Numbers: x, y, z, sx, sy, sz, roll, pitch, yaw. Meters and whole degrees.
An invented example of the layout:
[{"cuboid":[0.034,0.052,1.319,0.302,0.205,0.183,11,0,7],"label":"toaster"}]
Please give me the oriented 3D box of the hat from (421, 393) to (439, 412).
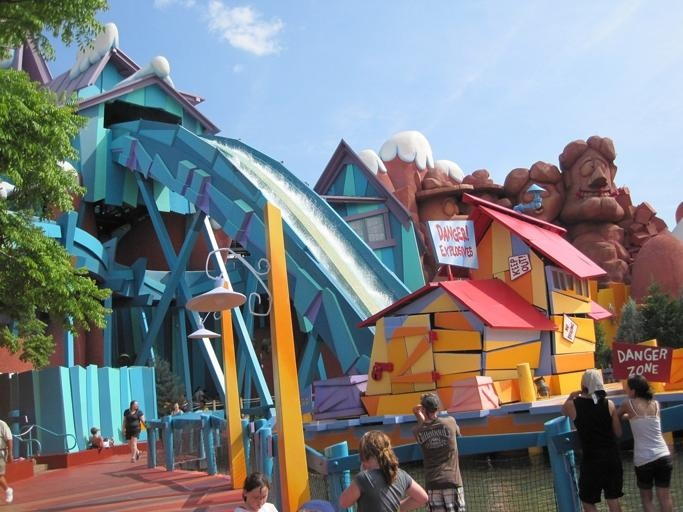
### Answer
[{"cuboid":[1.212,2.025,9.757,0.184,0.285,0.102,-3,-11,-11],"label":"hat"}]
